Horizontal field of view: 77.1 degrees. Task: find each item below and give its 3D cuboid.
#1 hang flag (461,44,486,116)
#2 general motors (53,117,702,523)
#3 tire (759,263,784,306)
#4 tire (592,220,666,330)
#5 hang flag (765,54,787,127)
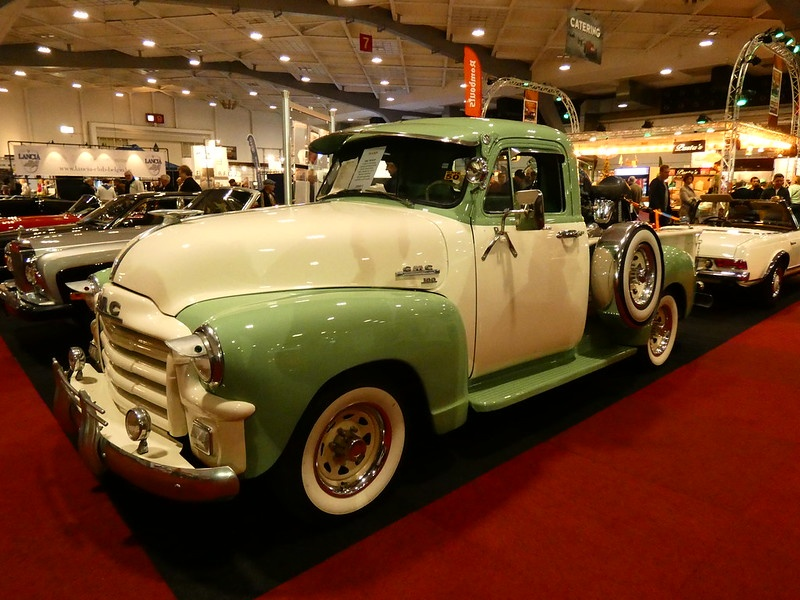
[{"bbox_3d":[1.585,-4.714,10.916,0.412,1.501,0.116,-7,18,-6],"label":"hang flag"},{"bbox_3d":[0.133,-0.172,4.059,4.576,1.720,2.397,-5,7,-35],"label":"general motors"},{"bbox_3d":[5.638,-0.257,7.645,0.615,0.650,0.193,-10,11,-42],"label":"tire"},{"bbox_3d":[2.005,-0.214,4.451,1.061,1.017,0.337,4,-3,-45],"label":"tire"},{"bbox_3d":[9.338,-5.155,12.489,0.204,1.818,1.757,5,16,35],"label":"hang flag"}]
